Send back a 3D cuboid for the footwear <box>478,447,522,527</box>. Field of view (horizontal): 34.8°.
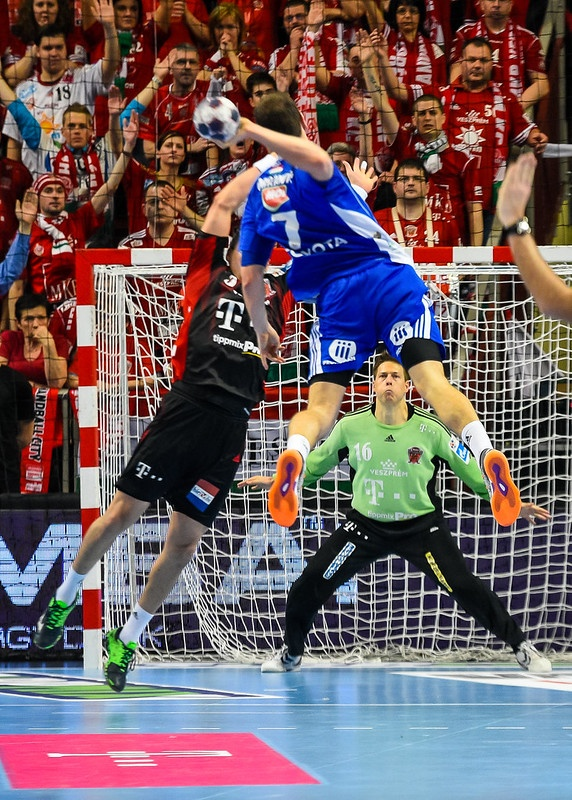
[{"bbox_3d":[0.783,0.319,3.369,0.136,0.288,0.129,-20,1,2],"label":"footwear"}]

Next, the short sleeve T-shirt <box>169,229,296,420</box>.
[{"bbox_3d":[-0.241,-0.361,4.475,0.601,0.901,0.344,11,-7,-21],"label":"short sleeve T-shirt"}]

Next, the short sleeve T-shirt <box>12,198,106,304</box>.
[{"bbox_3d":[-1.927,-1.173,7.987,0.799,1.206,0.315,5,2,24],"label":"short sleeve T-shirt"}]

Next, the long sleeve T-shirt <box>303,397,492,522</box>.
[{"bbox_3d":[0.599,0.353,5.191,1.251,0.631,0.305,2,13,22],"label":"long sleeve T-shirt"}]

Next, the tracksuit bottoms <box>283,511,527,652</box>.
[{"bbox_3d":[0.617,0.792,4.965,0.877,0.440,1.116,4,-5,-43],"label":"tracksuit bottoms"}]

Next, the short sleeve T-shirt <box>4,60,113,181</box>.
[{"bbox_3d":[-2.084,-2.520,8.375,1.032,0.959,0.713,17,7,5],"label":"short sleeve T-shirt"}]

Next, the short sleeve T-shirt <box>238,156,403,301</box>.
[{"bbox_3d":[0.150,-0.726,3.737,0.896,0.500,0.374,-1,-21,38],"label":"short sleeve T-shirt"}]

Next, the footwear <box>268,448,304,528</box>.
[{"bbox_3d":[0.009,0.334,3.445,0.135,0.277,0.118,5,-8,7],"label":"footwear"}]

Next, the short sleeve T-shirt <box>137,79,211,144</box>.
[{"bbox_3d":[-0.964,-2.684,8.592,0.952,0.266,0.722,1,-24,1],"label":"short sleeve T-shirt"}]

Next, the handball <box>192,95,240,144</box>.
[{"bbox_3d":[-0.231,-0.933,3.035,0.147,0.155,0.162,0,6,-19],"label":"handball"}]

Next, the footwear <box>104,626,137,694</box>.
[{"bbox_3d":[-0.789,1.237,4.366,0.144,0.298,0.106,-28,-39,25],"label":"footwear"}]

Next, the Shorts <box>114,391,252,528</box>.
[{"bbox_3d":[-0.518,0.276,4.299,0.610,0.530,0.342,25,-15,-27],"label":"Shorts"}]

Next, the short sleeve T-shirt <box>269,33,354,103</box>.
[{"bbox_3d":[0.174,-3.013,8.609,0.639,0.187,0.715,26,-44,-31],"label":"short sleeve T-shirt"}]

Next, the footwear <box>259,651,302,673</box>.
[{"bbox_3d":[-0.029,1.439,5.027,0.232,0.126,0.112,2,-10,-1],"label":"footwear"}]

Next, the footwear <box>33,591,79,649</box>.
[{"bbox_3d":[-1.177,1.137,4.625,0.172,0.327,0.235,-1,7,-22],"label":"footwear"}]

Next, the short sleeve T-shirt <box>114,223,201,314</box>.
[{"bbox_3d":[-0.892,-0.784,6.388,0.532,0.166,0.785,-7,-19,-7],"label":"short sleeve T-shirt"}]
